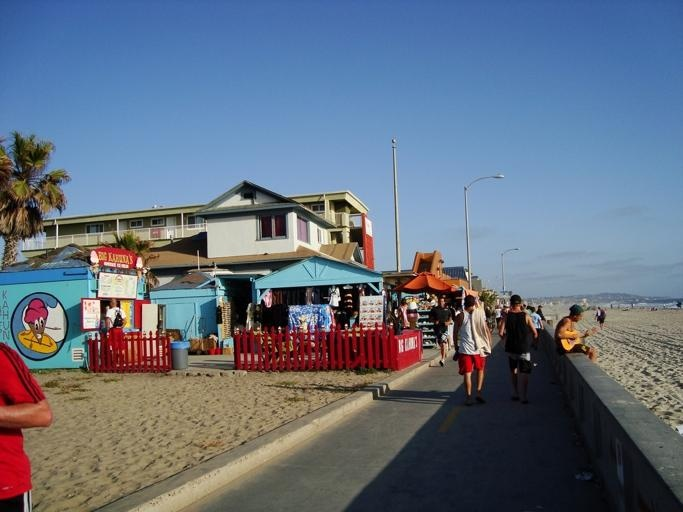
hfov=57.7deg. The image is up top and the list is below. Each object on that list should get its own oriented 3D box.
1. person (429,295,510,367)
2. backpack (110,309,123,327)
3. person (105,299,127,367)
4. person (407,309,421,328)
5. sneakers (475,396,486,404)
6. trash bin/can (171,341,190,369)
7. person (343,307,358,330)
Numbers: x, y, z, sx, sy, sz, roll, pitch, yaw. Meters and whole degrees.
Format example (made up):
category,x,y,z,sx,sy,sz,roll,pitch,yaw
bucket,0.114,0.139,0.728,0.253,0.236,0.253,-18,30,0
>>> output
category,x,y,z,sx,sy,sz,roll,pitch,yaw
person,2.735,1.678,12.784,0.710,1.700,0.586,0,-5,-34
backpack,-7.563,2.115,20.864,0.528,0.550,0.377,-15,-16,39
person,-7.522,2.575,20.547,0.562,2.201,1.447,-2,-5,-21
person,3.068,2.695,26.355,0.435,0.748,0.701,-4,-5,6
sneakers,2.898,2.968,12.786,0.191,0.140,0.324,-4,-5,12
trash bin/can,-5.067,3.136,19.460,0.564,0.881,0.569,-1,-5,-26
person,0.386,2.757,27.563,0.711,0.847,1.810,-3,-5,-1
